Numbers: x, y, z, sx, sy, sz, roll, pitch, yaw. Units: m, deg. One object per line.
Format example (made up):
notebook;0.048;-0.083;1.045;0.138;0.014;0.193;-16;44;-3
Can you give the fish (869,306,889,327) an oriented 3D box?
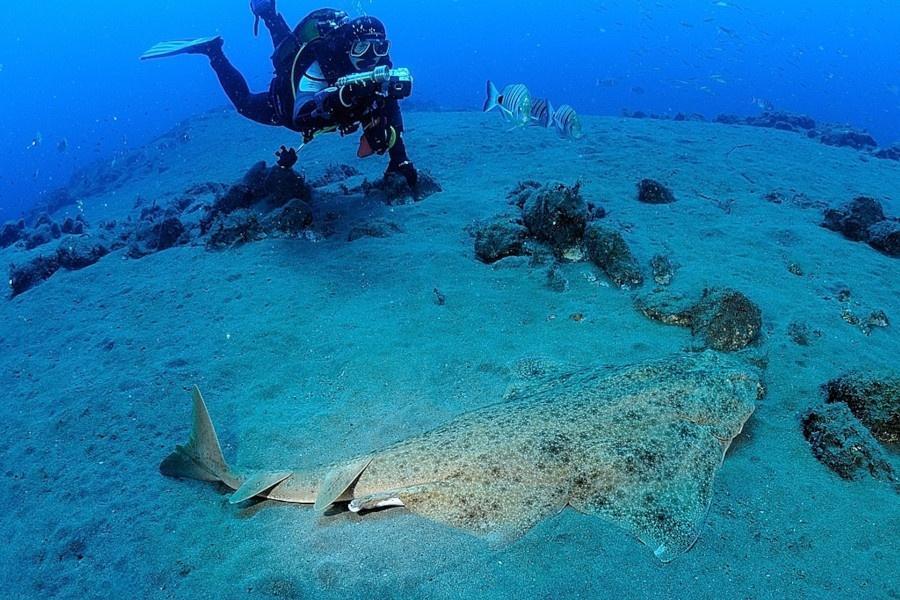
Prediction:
fish;7.179;0.308;10.855;0.319;0.090;0.262;-9;44;2

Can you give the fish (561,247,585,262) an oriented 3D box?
fish;2.382;-0.881;12.578;0.393;0.141;0.271;4;45;8
